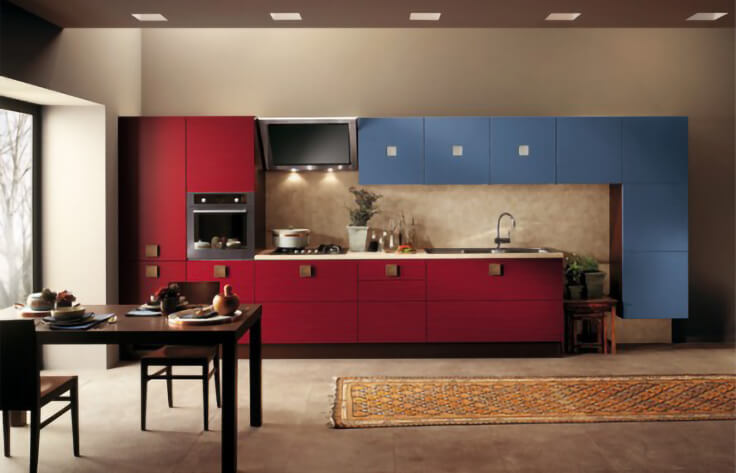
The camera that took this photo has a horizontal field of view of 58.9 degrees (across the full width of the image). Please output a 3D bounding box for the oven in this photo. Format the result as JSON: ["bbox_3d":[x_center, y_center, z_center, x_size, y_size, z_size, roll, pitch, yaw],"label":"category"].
[{"bbox_3d":[-1.865,-0.118,7.786,0.856,0.777,0.574,-1,0,-36],"label":"oven"}]

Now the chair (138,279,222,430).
[{"bbox_3d":[-1.834,1.195,6.262,0.715,1.067,0.596,1,-15,-15],"label":"chair"}]

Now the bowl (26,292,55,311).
[{"bbox_3d":[-2.948,0.581,5.862,0.198,0.112,0.191,2,-1,0],"label":"bowl"}]

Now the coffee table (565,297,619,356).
[{"bbox_3d":[2.644,1.051,7.760,0.692,0.629,0.663,-1,-5,6],"label":"coffee table"}]

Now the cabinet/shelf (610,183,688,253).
[{"bbox_3d":[3.363,-0.220,7.733,0.862,0.931,0.490,0,-2,3],"label":"cabinet/shelf"}]

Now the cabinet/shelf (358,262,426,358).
[{"bbox_3d":[0.004,0.876,7.891,1.133,1.207,0.848,-1,-5,0],"label":"cabinet/shelf"}]

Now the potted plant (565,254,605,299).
[{"bbox_3d":[2.524,0.498,7.976,0.568,0.620,0.475,0,-5,0],"label":"potted plant"}]

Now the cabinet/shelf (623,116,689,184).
[{"bbox_3d":[3.384,-1.037,7.688,0.816,0.740,0.450,0,-3,3],"label":"cabinet/shelf"}]

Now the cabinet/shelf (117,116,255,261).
[{"bbox_3d":[-2.091,-0.616,7.597,1.766,1.638,0.568,0,-3,-1],"label":"cabinet/shelf"}]
